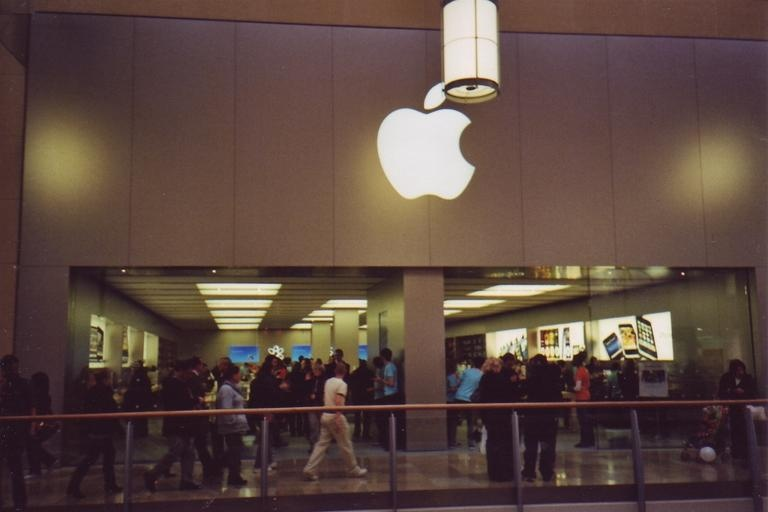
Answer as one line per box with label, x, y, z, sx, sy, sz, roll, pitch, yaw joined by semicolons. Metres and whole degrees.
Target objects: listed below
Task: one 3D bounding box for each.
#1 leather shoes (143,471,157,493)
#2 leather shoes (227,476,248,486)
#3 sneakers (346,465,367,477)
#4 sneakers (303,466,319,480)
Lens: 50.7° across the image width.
leather shoes;-3.862;3.747;13.434;0.225;0.331;0.082;12;-9;-15
leather shoes;-2.442;3.766;13.540;0.309;0.153;0.054;1;-12;-12
sneakers;-0.430;3.630;13.723;0.263;0.130;0.143;-2;-1;-5
sneakers;-1.228;3.654;13.624;0.303;0.308;0.149;8;-5;-33
